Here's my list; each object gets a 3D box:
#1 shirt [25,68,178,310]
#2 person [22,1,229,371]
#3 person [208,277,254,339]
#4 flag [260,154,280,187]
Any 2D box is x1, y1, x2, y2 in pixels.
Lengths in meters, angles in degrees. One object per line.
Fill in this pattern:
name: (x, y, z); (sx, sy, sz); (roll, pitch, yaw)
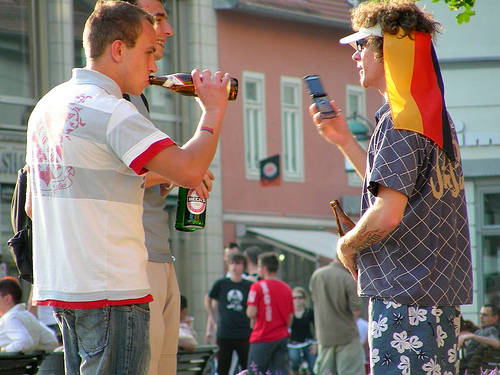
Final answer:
shirt: (-1.470, -0.009, 14.219); (1.239, 2.316, 0.462); (0, -5, -4)
person: (-1.242, -0.038, 14.246); (1.681, 3.531, 0.488); (0, -5, -6)
person: (-0.257, 1.663, 20.812); (0.517, 0.798, 0.496); (-1, 2, 29)
flag: (0.432, -0.345, 28.302); (0.376, 0.570, 0.336); (-1, -5, 0)
